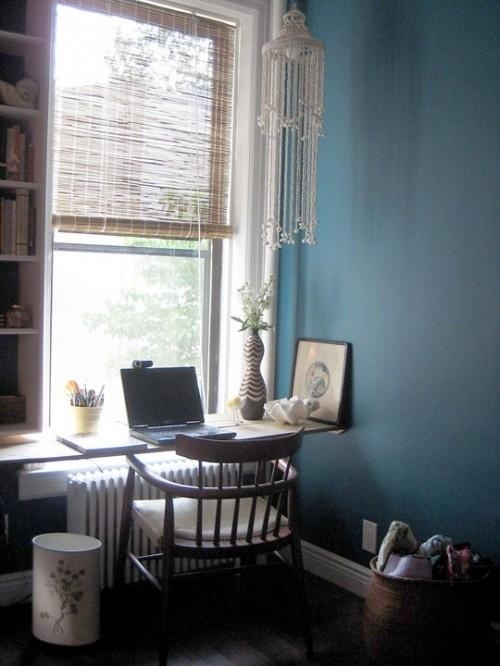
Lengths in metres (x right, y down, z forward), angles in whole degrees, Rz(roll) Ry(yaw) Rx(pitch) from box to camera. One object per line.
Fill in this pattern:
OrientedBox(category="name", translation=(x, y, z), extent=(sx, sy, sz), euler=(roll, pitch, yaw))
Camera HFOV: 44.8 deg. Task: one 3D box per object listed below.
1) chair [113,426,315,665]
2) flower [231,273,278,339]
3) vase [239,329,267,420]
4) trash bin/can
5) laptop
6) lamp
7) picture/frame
OrientedBox(category="chair", translation=(-0.149, 0.736, 2.043), extent=(0.548, 0.870, 0.551), euler=(-2, 11, -25))
OrientedBox(category="flower", translation=(0.015, -0.102, 2.539), extent=(0.151, 0.205, 0.141), euler=(7, 4, -38))
OrientedBox(category="vase", translation=(0.010, 0.171, 2.518), extent=(0.107, 0.293, 0.161), euler=(2, 1, -1))
OrientedBox(category="trash bin/can", translation=(-0.581, 0.804, 1.949), extent=(0.203, 0.325, 0.175), euler=(4, 5, 2))
OrientedBox(category="laptop", translation=(-0.262, 0.242, 2.159), extent=(0.337, 0.251, 0.347), euler=(0, -2, -23))
OrientedBox(category="lamp", translation=(0.166, -0.875, 2.351), extent=(0.269, 0.781, 0.809), euler=(2, 1, 1))
OrientedBox(category="picture/frame", translation=(0.296, 0.207, 2.486), extent=(0.031, 0.334, 0.316), euler=(7, -4, -29))
